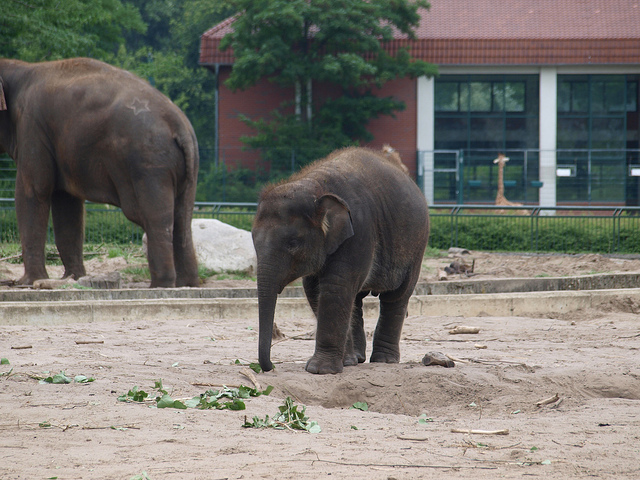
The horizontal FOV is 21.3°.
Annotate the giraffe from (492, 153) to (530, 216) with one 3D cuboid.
[{"bbox_3d":[5.798,-1.684,52.018,1.003,1.875,3.965,0,4,6],"label":"giraffe"}]
